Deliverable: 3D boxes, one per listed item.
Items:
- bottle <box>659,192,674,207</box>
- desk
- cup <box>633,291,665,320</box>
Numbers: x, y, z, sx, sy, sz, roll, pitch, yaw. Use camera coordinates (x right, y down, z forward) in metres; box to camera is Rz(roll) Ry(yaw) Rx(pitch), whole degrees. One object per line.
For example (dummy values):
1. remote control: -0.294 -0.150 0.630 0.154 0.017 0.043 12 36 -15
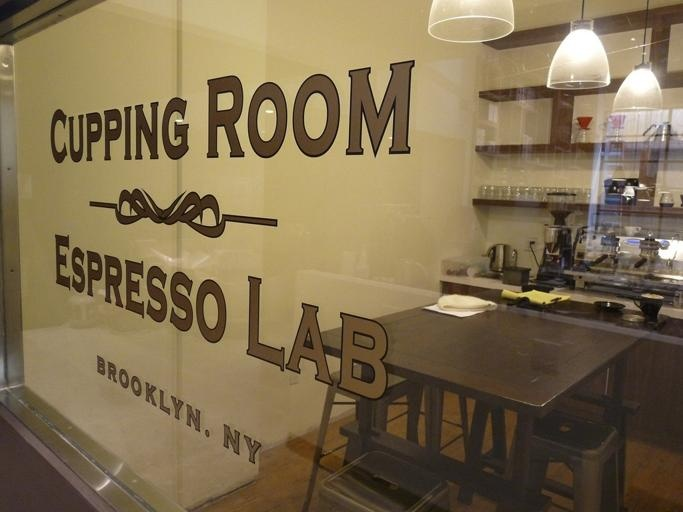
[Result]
1. bottle: 0.637 -0.112 1.012 0.024 0.029 0.009 3 10 20
2. desk: 0.298 0.230 1.176 0.503 0.431 0.415 7 10 44
3. cup: 0.615 0.099 1.028 0.046 0.061 0.045 2 5 0
